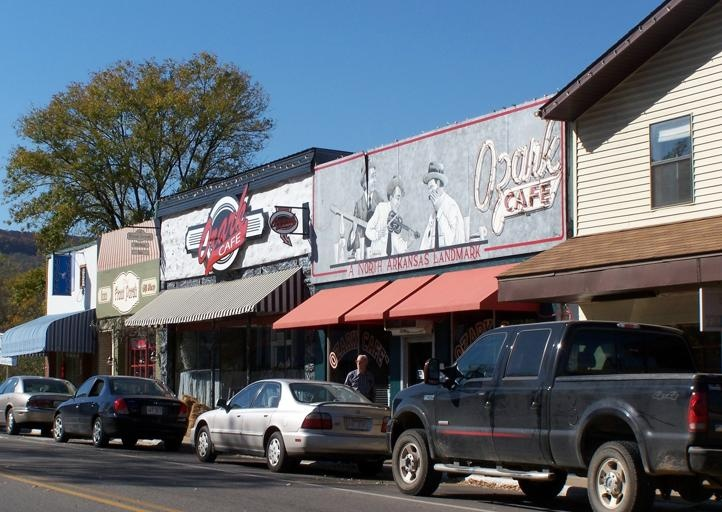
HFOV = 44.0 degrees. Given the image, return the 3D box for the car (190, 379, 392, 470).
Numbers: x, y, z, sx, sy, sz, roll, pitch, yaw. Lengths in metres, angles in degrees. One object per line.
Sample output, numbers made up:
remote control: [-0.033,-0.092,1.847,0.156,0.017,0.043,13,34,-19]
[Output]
car: [-1.754,3.651,19.115,5.302,1.897,1.985,-10,-17,40]

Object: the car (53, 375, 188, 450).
car: [-6.238,4.051,23.068,3.643,1.848,1.675,-9,-16,39]

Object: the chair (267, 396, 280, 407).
chair: [-1.792,2.992,18.277,0.207,0.183,0.170,13,-15,-39]
